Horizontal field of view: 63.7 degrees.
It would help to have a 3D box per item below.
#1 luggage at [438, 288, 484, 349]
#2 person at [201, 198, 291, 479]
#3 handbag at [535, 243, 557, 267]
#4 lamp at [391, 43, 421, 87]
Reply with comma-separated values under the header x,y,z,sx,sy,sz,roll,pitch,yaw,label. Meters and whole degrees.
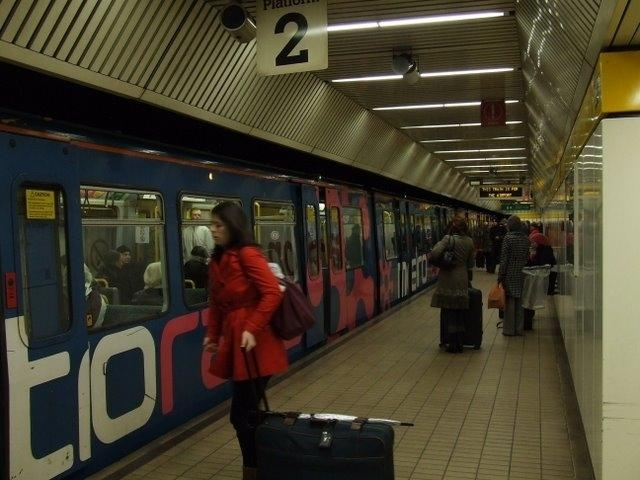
x,y,z,sx,sy,sz,roll,pitch,yaw,label
2.484,1.464,8.952,0.705,0.431,1.281,-3,46,22,luggage
-0.574,0.795,3.981,0.509,2.199,0.615,0,0,-36,person
5.116,0.307,11.716,0.261,0.417,0.542,4,7,7,handbag
1.260,-2.660,7.384,0.251,0.400,0.888,7,28,19,lamp
